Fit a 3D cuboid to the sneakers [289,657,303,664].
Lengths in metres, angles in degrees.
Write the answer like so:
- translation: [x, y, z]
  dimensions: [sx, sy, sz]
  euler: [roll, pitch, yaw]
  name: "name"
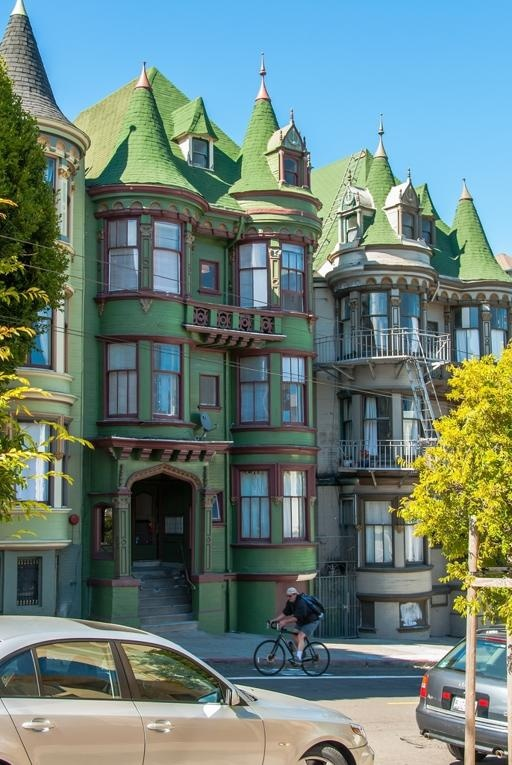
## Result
- translation: [0.661, 4.649, 23.721]
  dimensions: [0.179, 0.145, 0.333]
  euler: [2, -19, 0]
  name: "sneakers"
